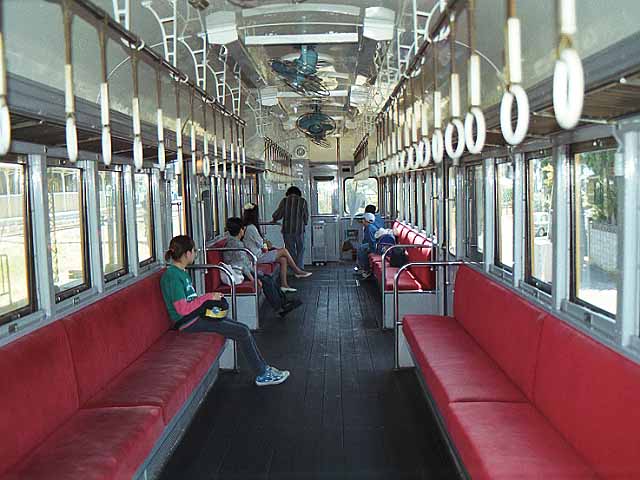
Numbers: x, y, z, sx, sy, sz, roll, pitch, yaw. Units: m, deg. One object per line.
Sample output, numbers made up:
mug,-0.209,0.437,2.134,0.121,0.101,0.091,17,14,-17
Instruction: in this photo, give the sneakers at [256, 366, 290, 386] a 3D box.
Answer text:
sneakers,-0.502,1.436,5.144,0.359,0.175,0.158,-5,25,-10

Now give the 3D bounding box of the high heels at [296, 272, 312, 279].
high heels,-0.326,0.797,10.699,0.399,0.161,0.136,5,6,-16

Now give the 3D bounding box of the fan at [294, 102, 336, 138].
fan,-0.076,-2.144,9.000,0.680,0.403,0.527,-1,8,1

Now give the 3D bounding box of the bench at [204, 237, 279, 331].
bench,-1.130,0.840,7.719,0.611,1.045,1.761,-6,-7,0

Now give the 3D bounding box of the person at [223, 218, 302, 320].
person,-0.777,0.260,7.425,1.045,1.437,0.583,-3,29,12

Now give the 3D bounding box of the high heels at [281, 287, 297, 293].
high heels,-0.592,0.954,9.333,0.320,0.166,0.113,-5,0,-2

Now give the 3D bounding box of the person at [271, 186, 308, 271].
person,-0.635,-0.341,11.253,0.751,2.152,0.690,1,29,-1

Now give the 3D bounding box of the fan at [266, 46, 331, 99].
fan,-0.176,-2.229,6.367,0.812,0.452,0.799,6,3,-6

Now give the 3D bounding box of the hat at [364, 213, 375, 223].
hat,1.070,-0.474,10.547,0.148,0.205,0.212,4,17,4

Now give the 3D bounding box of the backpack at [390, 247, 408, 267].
backpack,1.243,0.290,7.811,0.308,0.357,0.350,2,3,1
